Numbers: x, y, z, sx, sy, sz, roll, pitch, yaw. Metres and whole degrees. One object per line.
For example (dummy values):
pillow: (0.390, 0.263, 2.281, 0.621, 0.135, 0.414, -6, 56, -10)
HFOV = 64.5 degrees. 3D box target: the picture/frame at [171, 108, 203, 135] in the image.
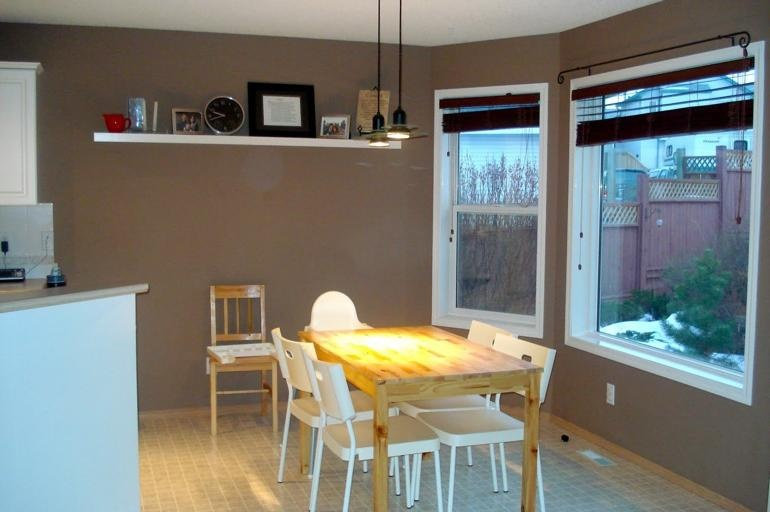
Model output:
picture/frame: (-1.862, -1.257, 5.729, 0.252, 0.223, 0.024, -1, 0, -19)

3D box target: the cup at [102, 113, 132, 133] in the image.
cup: (-2.445, -1.186, 5.580, 0.224, 0.163, 0.173, 1, 1, -32)
